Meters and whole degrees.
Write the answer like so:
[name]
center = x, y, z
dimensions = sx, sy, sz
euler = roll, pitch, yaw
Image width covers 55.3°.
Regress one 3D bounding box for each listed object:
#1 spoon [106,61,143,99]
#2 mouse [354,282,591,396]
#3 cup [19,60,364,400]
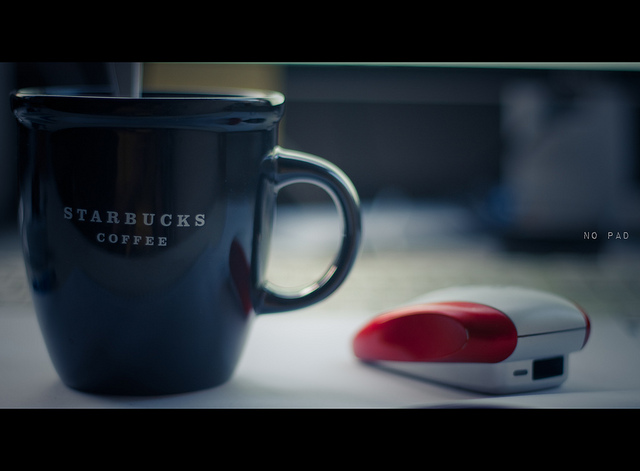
[spoon]
center = -0.093, -0.075, 0.291
dimensions = 0.018, 0.018, 0.012
euler = 28, 32, 23
[mouse]
center = 0.089, 0.048, 0.310
dimensions = 0.059, 0.034, 0.084
euler = 4, -6, -44
[cup]
center = -0.059, 0.005, 0.322
dimensions = 0.182, 0.130, 0.117
euler = -1, -3, -7
